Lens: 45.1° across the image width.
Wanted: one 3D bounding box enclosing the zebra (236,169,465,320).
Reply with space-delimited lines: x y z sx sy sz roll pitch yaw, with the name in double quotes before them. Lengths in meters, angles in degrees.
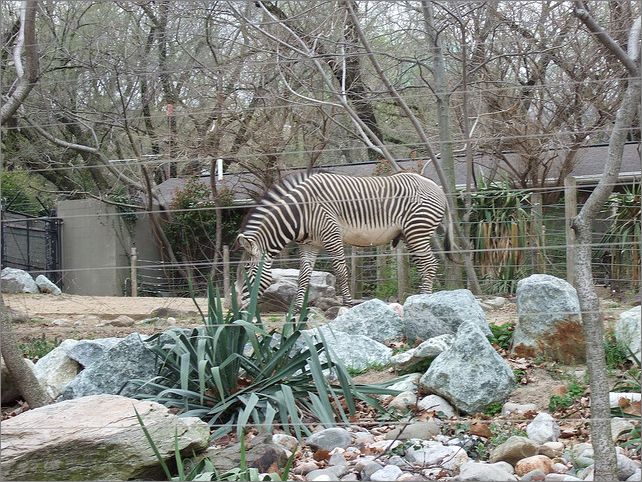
"zebra" 0.432 0.034 9.186 3.238 1.432 0.766 -4 -3 26
